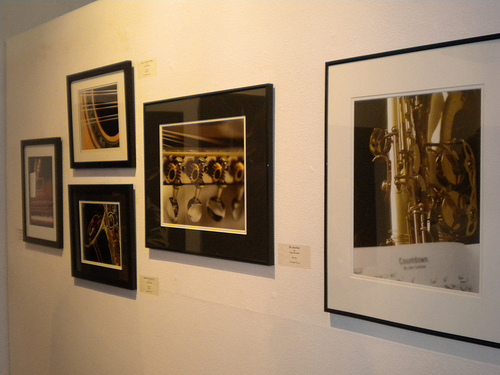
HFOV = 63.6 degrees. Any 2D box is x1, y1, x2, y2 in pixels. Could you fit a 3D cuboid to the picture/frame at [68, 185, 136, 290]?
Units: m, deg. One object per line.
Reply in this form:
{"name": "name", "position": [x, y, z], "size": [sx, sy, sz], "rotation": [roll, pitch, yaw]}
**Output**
{"name": "picture/frame", "position": [-1.062, 0.361, 3.026], "size": [0.721, 0.824, 0.057], "rotation": [1, 2, 40]}

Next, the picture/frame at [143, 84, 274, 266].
{"name": "picture/frame", "position": [-0.278, -0.095, 2.563], "size": [0.983, 1.052, 0.090], "rotation": [3, 2, 31]}

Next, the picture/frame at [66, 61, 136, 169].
{"name": "picture/frame", "position": [-1.088, -0.527, 3.028], "size": [0.623, 0.728, 0.039], "rotation": [-2, 1, 19]}

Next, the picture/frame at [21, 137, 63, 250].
{"name": "picture/frame", "position": [-1.716, 0.041, 3.438], "size": [0.044, 1.117, 0.849], "rotation": [-1, 4, -40]}
